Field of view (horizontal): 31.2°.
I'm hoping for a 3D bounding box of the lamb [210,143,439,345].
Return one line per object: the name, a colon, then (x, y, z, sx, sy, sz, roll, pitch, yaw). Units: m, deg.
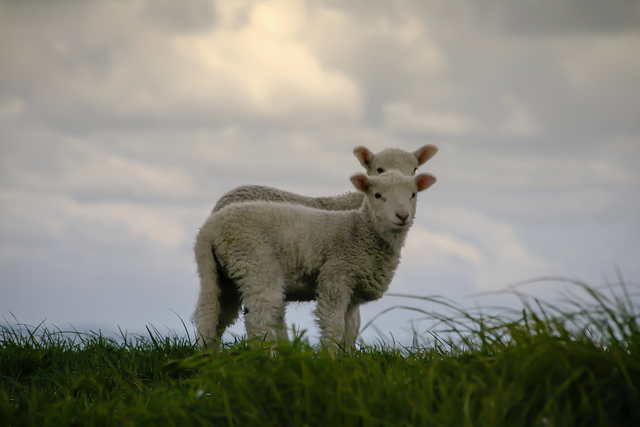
lamb: (0.593, -0.037, 9.965, 3.087, 1.907, 0.943, -1, -2, 2)
